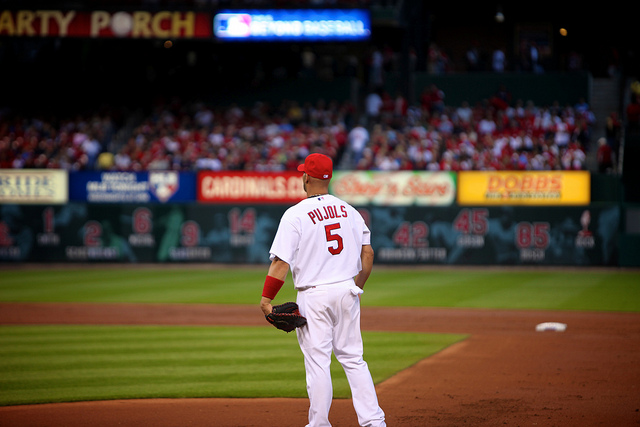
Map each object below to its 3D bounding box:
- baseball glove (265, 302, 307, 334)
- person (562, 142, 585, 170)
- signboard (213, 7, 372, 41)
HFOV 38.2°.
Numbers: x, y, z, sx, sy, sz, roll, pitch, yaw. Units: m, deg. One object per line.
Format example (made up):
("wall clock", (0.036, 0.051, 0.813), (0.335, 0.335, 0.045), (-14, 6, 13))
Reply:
("baseball glove", (-0.665, 2.013, 17.814), (0.682, 0.275, 0.507), (5, 39, 12))
("person", (8.653, -1.958, 31.528), (0.709, 0.744, 1.064), (3, 13, 16))
("signboard", (-1.018, -6.931, 33.874), (5.631, 1.174, 1.183), (3, 13, 14))
